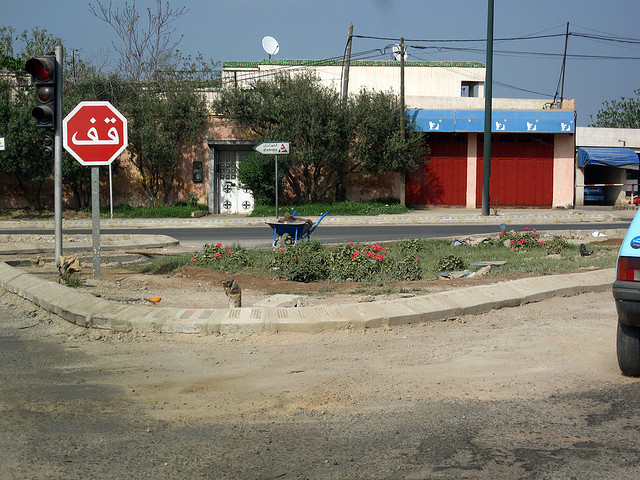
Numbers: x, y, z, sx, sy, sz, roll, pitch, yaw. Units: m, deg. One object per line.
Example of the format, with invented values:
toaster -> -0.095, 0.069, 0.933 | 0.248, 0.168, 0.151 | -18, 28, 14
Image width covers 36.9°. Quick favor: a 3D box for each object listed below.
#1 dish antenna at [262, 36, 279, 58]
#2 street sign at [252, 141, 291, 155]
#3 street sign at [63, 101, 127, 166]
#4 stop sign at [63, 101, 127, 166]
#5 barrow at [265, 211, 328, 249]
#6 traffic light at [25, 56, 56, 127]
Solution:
dish antenna -> -2.522, -9.979, 49.453 | 0.644, 1.042, 2.601 | 0, 6, -5
street sign -> -1.455, -2.888, 30.128 | 0.960, 0.393, 1.156 | 1, 6, 4
street sign -> -4.355, -2.068, 18.663 | 1.226, 1.258, 0.476 | 0, 6, -7
stop sign -> -4.332, -2.075, 18.747 | 1.305, 1.268, 0.157 | 0, 3, 4
barrow -> -0.630, -0.218, 22.380 | 0.946, 0.840, 1.914 | 1, 6, 8
traffic light -> -5.275, -2.846, 18.297 | 0.551, 1.359, 0.349 | -1, 6, -17
